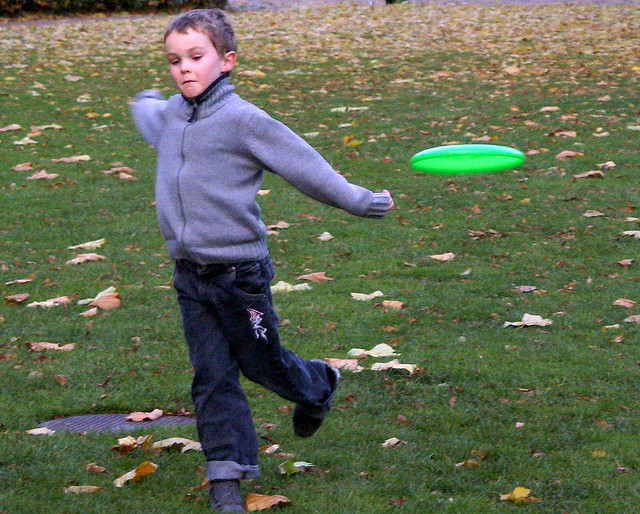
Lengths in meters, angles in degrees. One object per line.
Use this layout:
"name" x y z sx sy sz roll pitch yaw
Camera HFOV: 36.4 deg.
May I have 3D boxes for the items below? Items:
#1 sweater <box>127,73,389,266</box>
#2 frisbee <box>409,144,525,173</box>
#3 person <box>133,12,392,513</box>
"sweater" -0.473 -0.528 5.817 1.453 1.094 0.606 0 21 10
"frisbee" 0.984 -0.674 6.678 0.463 0.069 0.332 0 -4 -20
"person" -0.432 -0.002 5.902 1.068 2.888 1.259 -8 21 -8
